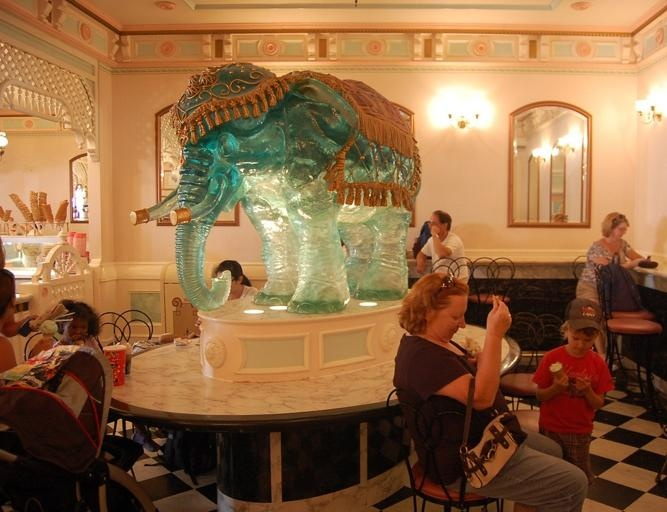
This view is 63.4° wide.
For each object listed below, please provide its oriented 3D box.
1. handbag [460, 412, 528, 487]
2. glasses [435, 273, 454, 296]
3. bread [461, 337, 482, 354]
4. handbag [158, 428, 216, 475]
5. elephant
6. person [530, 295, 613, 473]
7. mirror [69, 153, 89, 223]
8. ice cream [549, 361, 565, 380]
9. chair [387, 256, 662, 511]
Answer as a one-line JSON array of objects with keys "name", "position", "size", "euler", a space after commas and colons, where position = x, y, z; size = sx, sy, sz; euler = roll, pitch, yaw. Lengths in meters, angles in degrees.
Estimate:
[{"name": "handbag", "position": [0.650, 0.827, 2.250], "size": [0.128, 0.238, 0.321], "euler": [11, -46, -40]}, {"name": "glasses", "position": [0.519, 0.138, 2.443], "size": [0.048, 0.087, 0.062], "euler": [38, -9, -23]}, {"name": "bread", "position": [0.857, 0.561, 3.341], "size": [0.101, 0.041, 0.136], "euler": [23, 8, 29]}, {"name": "handbag", "position": [-0.952, 1.254, 3.495], "size": [0.440, 0.257, 0.199], "euler": [6, 15, 33]}, {"name": "elephant", "position": [-0.221, -0.397, 3.436], "size": [1.828, 1.442, 1.408], "euler": [-3, 7, -36]}, {"name": "person", "position": [1.264, 0.846, 2.936], "size": [0.395, 1.154, 0.361], "euler": [5, 4, 23]}, {"name": "mirror", "position": [-4.047, -1.087, 8.601], "size": [0.335, 1.031, 0.888], "euler": [-7, 14, -24]}, {"name": "ice cream", "position": [1.144, 0.596, 2.764], "size": [0.071, 0.109, 0.071], "euler": [-13, 45, 13]}, {"name": "chair", "position": [0.786, 0.530, 3.090], "size": [1.070, 1.673, 0.845], "euler": [-11, 3, -4]}]
